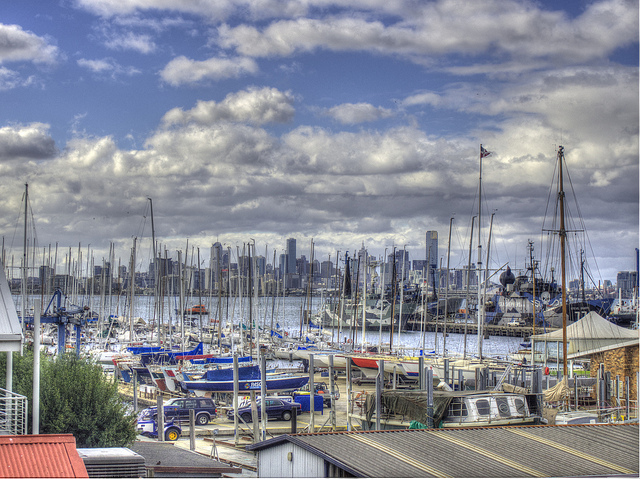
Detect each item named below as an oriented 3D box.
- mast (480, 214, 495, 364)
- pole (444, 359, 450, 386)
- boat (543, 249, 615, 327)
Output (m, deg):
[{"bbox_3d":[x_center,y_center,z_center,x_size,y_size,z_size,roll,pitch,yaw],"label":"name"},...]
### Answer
[{"bbox_3d":[15.323,5.131,95.688,1.535,15.093,1.912,-3,-2,2],"label":"mast"},{"bbox_3d":[8.878,9.278,71.924,0.271,1.638,0.726,-3,-6,2],"label":"pole"},{"bbox_3d":[32.479,6.307,129.437,3.803,7.264,11.791,-7,-2,-24],"label":"boat"}]
